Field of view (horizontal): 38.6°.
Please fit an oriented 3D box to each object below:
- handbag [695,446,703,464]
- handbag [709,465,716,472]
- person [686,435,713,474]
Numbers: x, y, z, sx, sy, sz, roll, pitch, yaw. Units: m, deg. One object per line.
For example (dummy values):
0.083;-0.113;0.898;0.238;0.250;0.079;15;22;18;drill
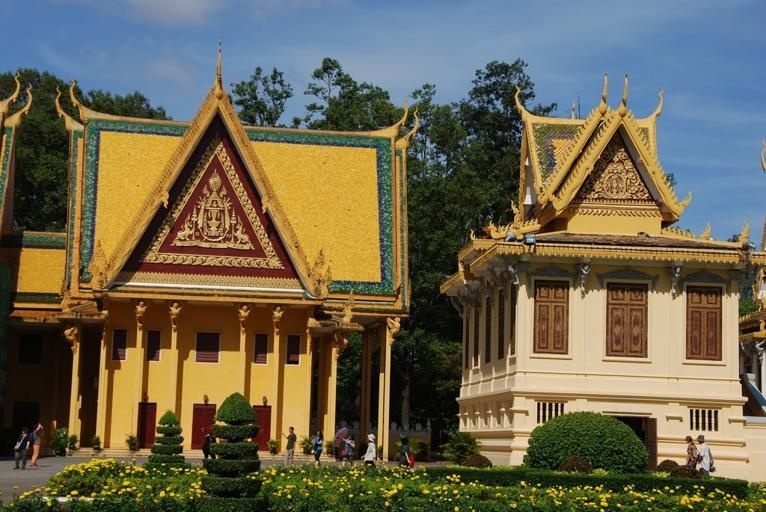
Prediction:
10.298;6.493;35.695;0.160;0.408;0.313;-7;7;14;handbag
10.796;6.876;35.622;0.239;0.298;0.326;-1;-11;4;handbag
10.393;6.430;35.797;0.908;1.324;3.108;-2;-10;16;person
